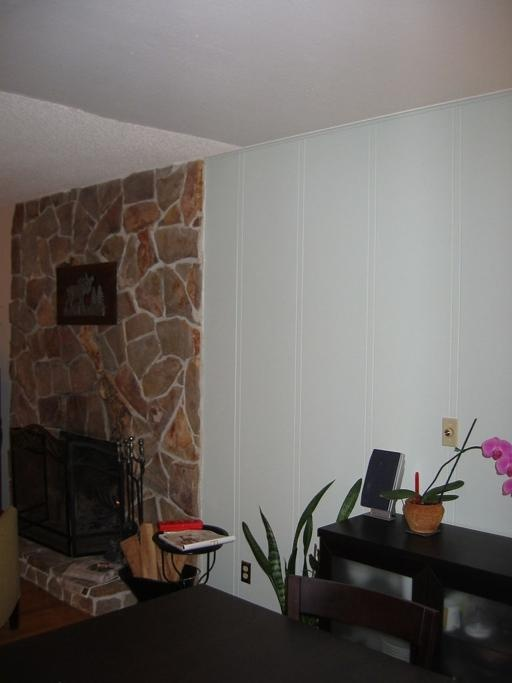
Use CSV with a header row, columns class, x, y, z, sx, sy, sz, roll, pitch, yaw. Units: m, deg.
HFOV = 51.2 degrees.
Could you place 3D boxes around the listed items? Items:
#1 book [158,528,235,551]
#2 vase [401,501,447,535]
class,x,y,z,sx,sy,sz,roll,pitch,yaw
book,-0.269,0.882,2.376,0.301,0.053,0.214,6,-6,-24
vase,0.609,0.605,1.902,0.101,0.094,0.109,-1,3,-17
